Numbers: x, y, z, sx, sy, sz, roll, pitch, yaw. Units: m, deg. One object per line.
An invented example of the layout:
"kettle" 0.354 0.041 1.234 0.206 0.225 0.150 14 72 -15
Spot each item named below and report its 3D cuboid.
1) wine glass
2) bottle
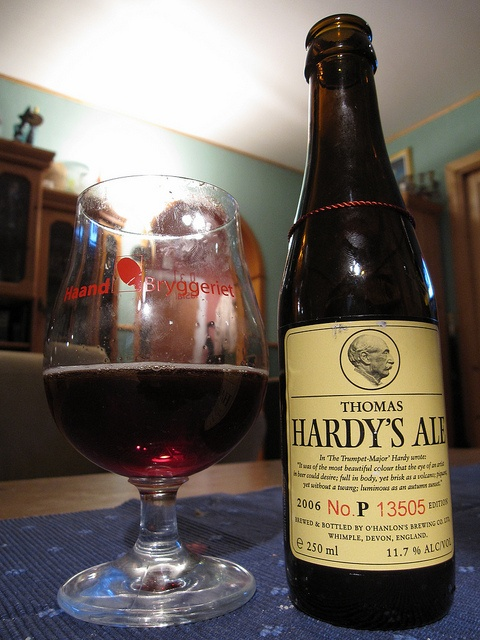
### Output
"wine glass" -0.047 0.037 0.380 0.140 0.272 0.119 6 -10 -37
"bottle" 0.085 -0.022 0.385 0.118 0.393 0.119 -1 -8 0
